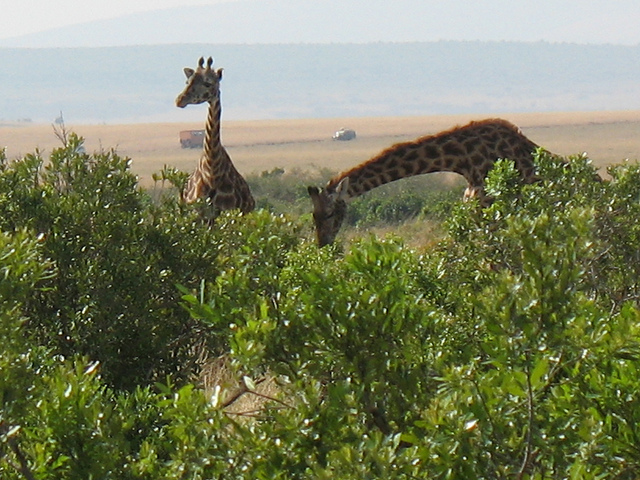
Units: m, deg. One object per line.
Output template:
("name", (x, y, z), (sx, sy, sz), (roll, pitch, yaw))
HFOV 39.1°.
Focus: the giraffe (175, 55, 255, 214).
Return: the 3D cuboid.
("giraffe", (-1.317, -1.258, 11.147), (0.881, 2.043, 1.388), (-5, 14, -9))
